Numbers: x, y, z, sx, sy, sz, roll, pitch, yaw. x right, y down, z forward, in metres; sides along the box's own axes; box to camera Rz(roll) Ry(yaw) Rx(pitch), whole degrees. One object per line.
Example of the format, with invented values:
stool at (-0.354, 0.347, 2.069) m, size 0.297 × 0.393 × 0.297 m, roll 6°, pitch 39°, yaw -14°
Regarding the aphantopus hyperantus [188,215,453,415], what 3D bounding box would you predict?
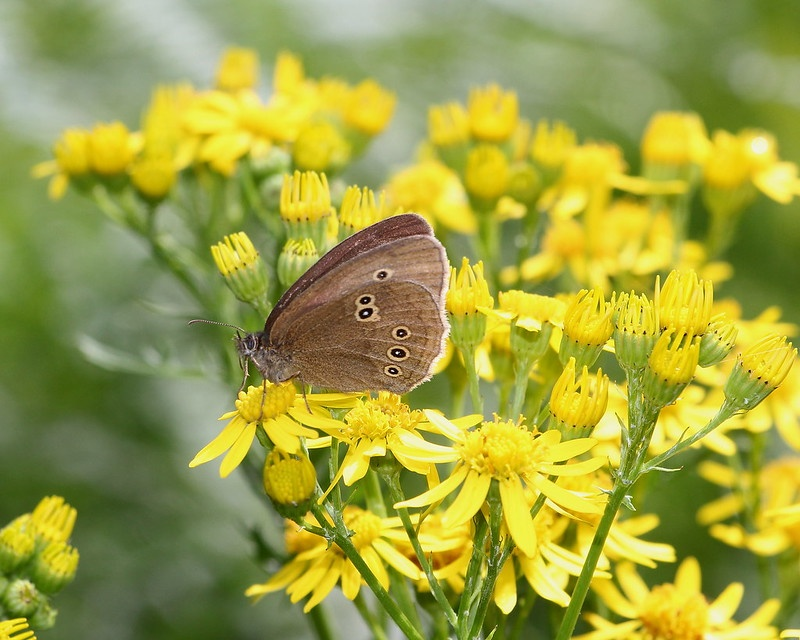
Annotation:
aphantopus hyperantus at (-0.157, -0.044, 1.825) m, size 0.483 × 0.394 × 0.320 m, roll -4°, pitch 27°, yaw 0°
